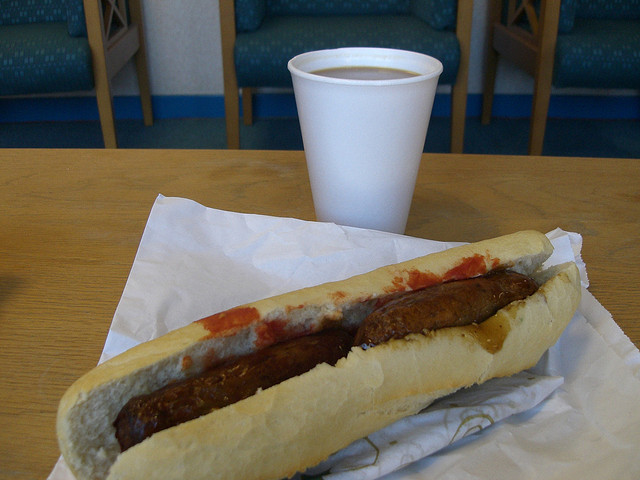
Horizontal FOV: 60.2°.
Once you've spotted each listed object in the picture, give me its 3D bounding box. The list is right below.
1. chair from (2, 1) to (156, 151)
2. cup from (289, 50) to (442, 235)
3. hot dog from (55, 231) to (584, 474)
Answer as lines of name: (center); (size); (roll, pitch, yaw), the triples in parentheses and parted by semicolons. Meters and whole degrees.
chair: (-0.946, -0.634, 2.020); (0.474, 0.468, 0.661); (-1, 27, -4)
cup: (0.047, -0.123, 0.713); (0.203, 0.210, 0.203); (0, 28, 0)
hot dog: (0.041, 0.109, 0.546); (0.514, 0.140, 0.164); (-12, 42, -21)
